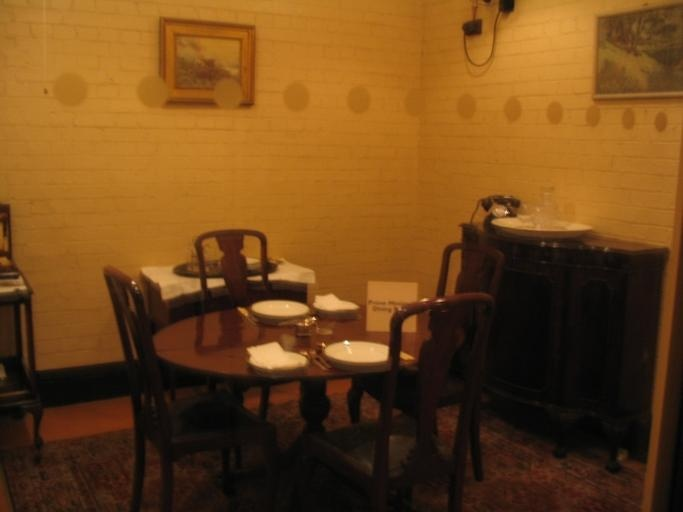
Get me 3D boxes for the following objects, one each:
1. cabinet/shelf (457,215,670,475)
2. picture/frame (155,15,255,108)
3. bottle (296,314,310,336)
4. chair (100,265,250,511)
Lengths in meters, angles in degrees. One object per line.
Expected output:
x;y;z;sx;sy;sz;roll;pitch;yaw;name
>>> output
0.964;0.370;2.354;0.385;0.933;0.976;-3;8;-27;cabinet/shelf
-0.662;-0.951;2.673;0.433;0.370;0.048;-1;8;-23;picture/frame
-0.134;0.242;1.923;0.048;0.053;0.046;1;0;29;bottle
-0.531;0.499;1.945;0.434;0.952;0.517;-7;17;-33;chair
